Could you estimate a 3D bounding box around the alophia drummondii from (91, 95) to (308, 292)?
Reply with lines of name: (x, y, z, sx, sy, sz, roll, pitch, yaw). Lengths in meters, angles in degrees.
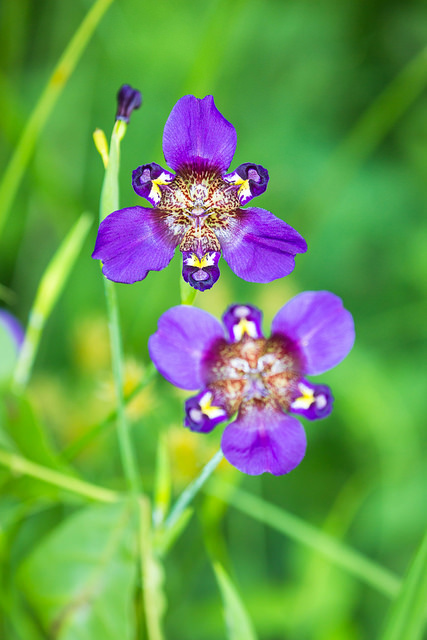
alophia drummondii: (-0.007, -0.116, 0.522, 0.190, 0.169, 0.074, 5, 18, 0)

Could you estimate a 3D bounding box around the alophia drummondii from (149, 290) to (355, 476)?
alophia drummondii: (0.039, 0.045, 0.514, 0.153, 0.157, 0.128, 13, 19, 24)
